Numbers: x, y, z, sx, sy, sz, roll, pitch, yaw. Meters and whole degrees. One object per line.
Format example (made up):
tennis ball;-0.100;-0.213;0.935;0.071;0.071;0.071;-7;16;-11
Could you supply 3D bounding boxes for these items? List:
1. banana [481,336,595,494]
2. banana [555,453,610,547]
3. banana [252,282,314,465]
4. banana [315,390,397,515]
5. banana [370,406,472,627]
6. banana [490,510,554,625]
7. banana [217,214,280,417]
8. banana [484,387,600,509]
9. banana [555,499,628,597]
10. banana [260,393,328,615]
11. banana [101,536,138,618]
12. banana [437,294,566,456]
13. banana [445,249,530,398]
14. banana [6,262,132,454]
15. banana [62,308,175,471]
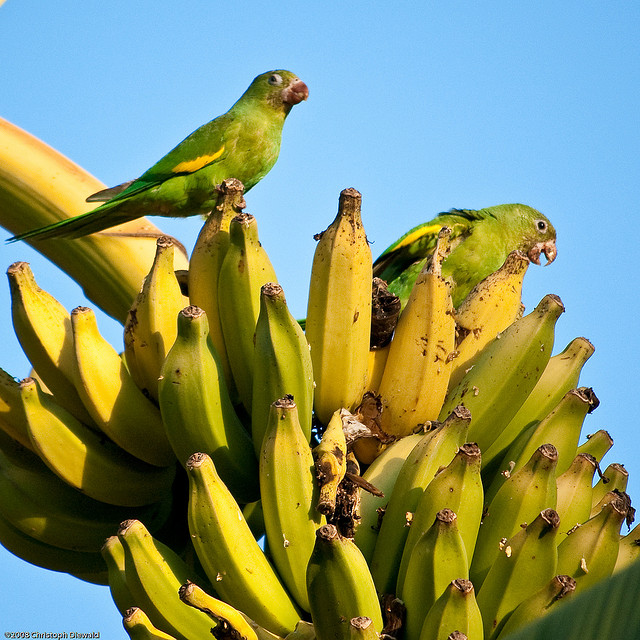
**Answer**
banana;0.631;0.305;3.676;0.148;0.457;0.119;35;-9;11
banana;0.756;0.483;3.585;0.098;0.108;0.346;-14;-31;-26
banana;-0.091;0.190;3.626;0.160;0.185;0.731;27;-53;37
banana;0.095;0.354;3.575;0.107;0.331;0.199;-30;-62;33
banana;0.328;0.463;3.602;0.221;0.735;0.177;35;-62;-13
banana;0.540;0.668;3.316;0.173;0.277;0.114;-3;-30;40
banana;-0.209;0.012;3.660;0.151;0.131;0.585;7;-77;34
banana;0.641;0.388;3.617;0.128;0.468;0.156;32;-7;-21
banana;0.751;0.620;3.437;0.167;0.270;0.101;14;-23;13
banana;-0.089;0.456;3.490;0.179;0.720;0.155;-3;1;-28
banana;-0.563;0.732;3.539;0.078;0.099;0.341;-1;-53;5
banana;0.553;0.195;3.774;0.100;0.436;0.143;28;-12;10
banana;0.553;0.024;4.113;0.132;0.561;0.190;8;-31;51
banana;-0.758;0.160;3.752;0.129;0.180;0.604;-14;-80;51
banana;-0.592;0.222;3.691;0.103;0.138;0.429;-24;-82;11
